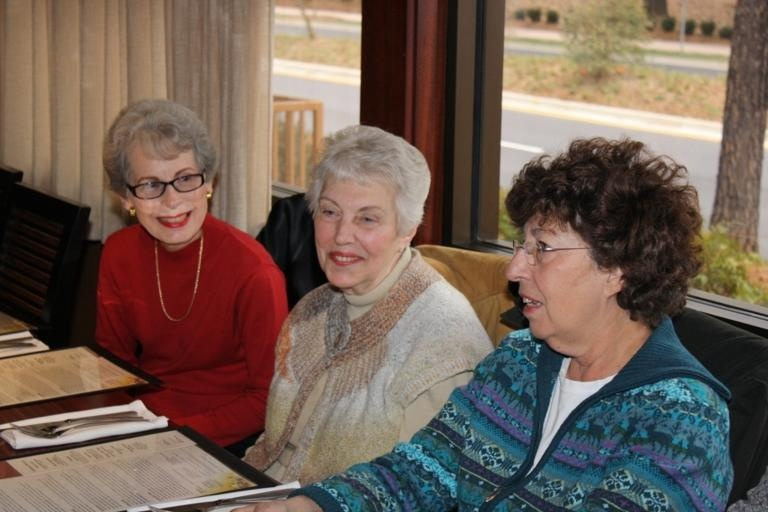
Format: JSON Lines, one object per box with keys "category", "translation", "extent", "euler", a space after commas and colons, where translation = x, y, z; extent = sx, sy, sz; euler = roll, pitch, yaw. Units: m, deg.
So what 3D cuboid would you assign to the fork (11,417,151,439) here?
{"category": "fork", "translation": [-0.785, 0.440, 1.706], "extent": [0.310, 0.023, 0.070], "euler": [-5, 16, -17]}
